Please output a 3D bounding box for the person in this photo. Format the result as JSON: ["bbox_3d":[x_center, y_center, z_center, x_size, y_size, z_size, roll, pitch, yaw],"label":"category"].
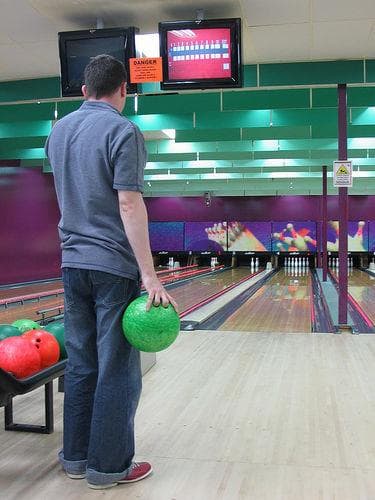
[{"bbox_3d":[-0.228,0.129,1.190,0.444,1.166,0.242,-1,-2,44],"label":"person"}]

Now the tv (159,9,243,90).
[{"bbox_3d":[0.094,-1.408,2.832,0.775,0.558,0.105,1,6,13],"label":"tv"}]
